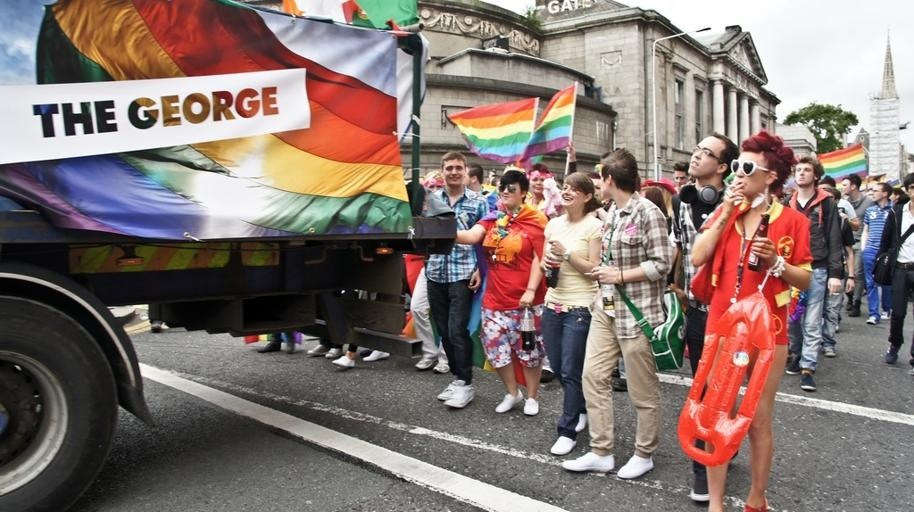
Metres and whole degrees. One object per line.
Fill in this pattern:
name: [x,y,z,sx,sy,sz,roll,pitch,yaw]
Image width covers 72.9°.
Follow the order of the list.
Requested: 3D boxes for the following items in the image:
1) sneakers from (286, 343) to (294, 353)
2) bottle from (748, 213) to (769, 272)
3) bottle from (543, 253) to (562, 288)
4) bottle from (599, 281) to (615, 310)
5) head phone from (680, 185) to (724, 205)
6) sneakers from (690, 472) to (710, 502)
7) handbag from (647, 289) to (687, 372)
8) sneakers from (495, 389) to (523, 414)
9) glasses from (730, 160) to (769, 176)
sneakers: [-2.537,1.390,9.466,0.146,0.146,0.134,1,-6,6]
bottle: [2.615,-0.124,5.388,0.109,0.466,0.270,7,13,30]
bottle: [0.993,0.210,6.485,0.209,0.294,0.195,2,-9,0]
bottle: [1.456,0.405,6.062,0.173,0.288,0.100,7,13,30]
head phone: [2.284,-0.577,5.836,0.305,0.117,0.248,0,4,-2]
sneakers: [2.176,2.080,5.588,0.118,0.108,0.268,2,6,12]
handbag: [2.023,0.713,5.950,0.289,0.727,0.350,8,14,34]
sneakers: [0.613,1.717,7.365,0.404,0.157,0.147,-35,25,-19]
glasses: [2.527,-0.778,5.466,0.191,0.071,0.185,8,-2,-35]
